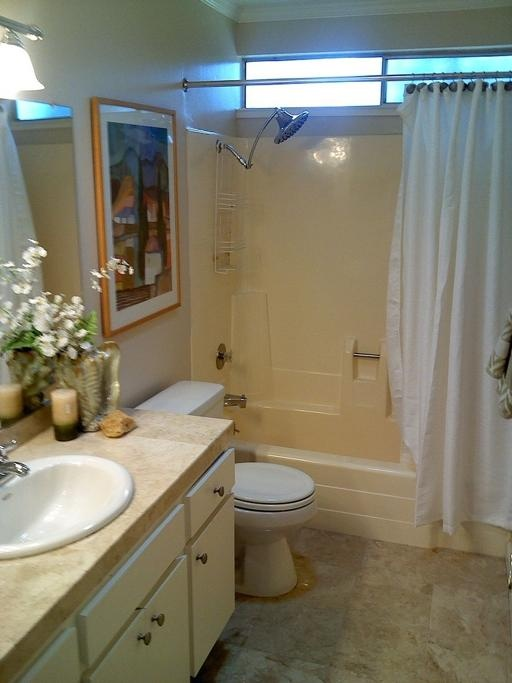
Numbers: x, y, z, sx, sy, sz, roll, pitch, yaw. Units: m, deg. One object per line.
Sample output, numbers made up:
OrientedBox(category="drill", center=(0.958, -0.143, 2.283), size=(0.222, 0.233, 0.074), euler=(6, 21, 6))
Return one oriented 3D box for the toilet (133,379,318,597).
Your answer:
OrientedBox(category="toilet", center=(-0.093, 0.620, 2.231), size=(0.637, 0.770, 0.467), euler=(4, 14, 14))
